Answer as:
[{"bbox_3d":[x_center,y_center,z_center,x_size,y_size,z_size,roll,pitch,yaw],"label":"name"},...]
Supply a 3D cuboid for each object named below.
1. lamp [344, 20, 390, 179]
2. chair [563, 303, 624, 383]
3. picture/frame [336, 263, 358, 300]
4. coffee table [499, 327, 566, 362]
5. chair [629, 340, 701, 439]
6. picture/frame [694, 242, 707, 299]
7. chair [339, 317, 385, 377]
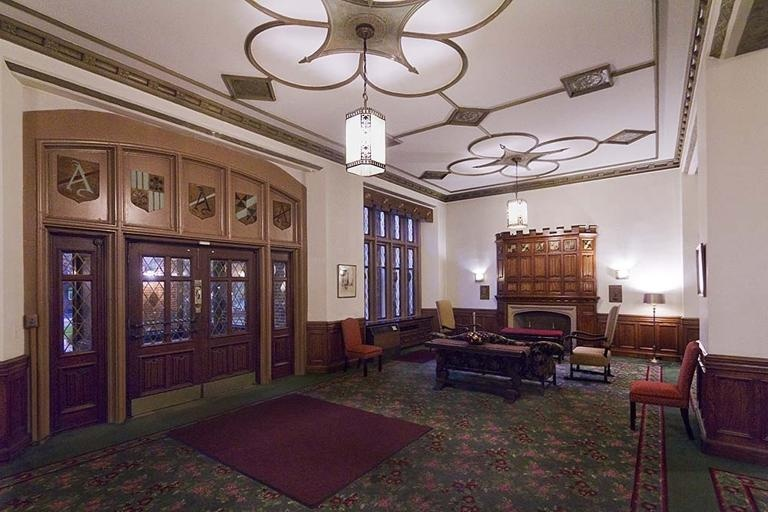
[{"bbox_3d":[-0.255,-2.275,6.937,0.533,2.118,1.223,0,9,0],"label":"lamp"},{"bbox_3d":[4.342,1.815,9.839,1.082,1.489,1.133,-1,-2,17],"label":"chair"},{"bbox_3d":[-0.841,0.573,10.576,0.059,0.853,0.777,-8,-11,37],"label":"picture/frame"},{"bbox_3d":[3.751,2.248,11.816,1.537,0.695,0.594,-3,-4,35],"label":"coffee table"},{"bbox_3d":[4.359,2.024,7.329,1.025,1.323,0.851,0,-3,20],"label":"chair"},{"bbox_3d":[4.940,0.228,7.304,0.119,0.936,1.191,5,11,30],"label":"picture/frame"},{"bbox_3d":[-0.485,1.909,10.094,0.799,1.065,0.702,-1,-4,24],"label":"chair"}]
